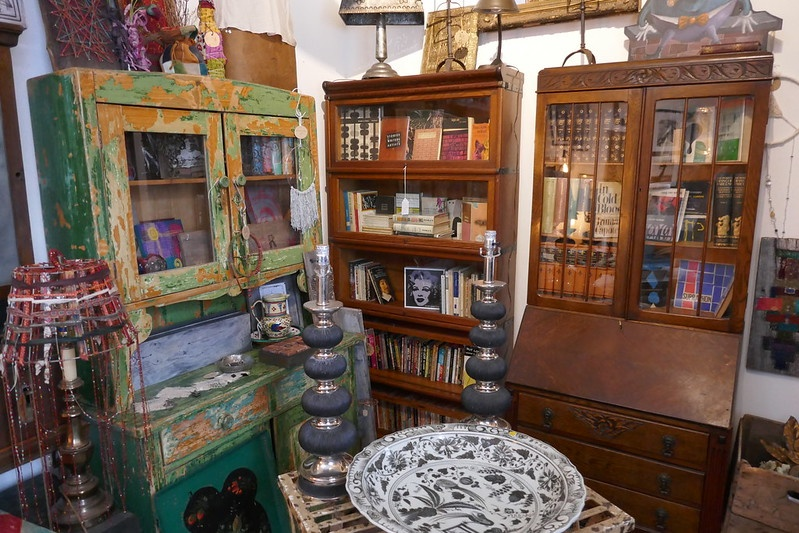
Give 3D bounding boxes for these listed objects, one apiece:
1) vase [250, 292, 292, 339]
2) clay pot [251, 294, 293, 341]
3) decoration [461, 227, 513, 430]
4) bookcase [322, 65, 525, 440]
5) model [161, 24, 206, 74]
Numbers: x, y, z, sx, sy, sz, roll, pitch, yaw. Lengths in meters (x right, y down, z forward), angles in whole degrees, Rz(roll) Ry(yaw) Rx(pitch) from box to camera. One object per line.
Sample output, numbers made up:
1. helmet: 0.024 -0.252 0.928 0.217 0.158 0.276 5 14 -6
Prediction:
1. vase: -0.746 0.306 3.139 0.250 0.236 0.176 -5 4 -10
2. clay pot: -0.748 0.303 3.144 0.245 0.235 0.177 -2 5 -4
3. decoration: 0.427 0.381 2.611 0.208 1.121 0.924 0 12 11
4. bookcase: 0.067 -0.104 3.454 1.057 2.125 0.505 -1 19 2
5. model: -1.115 -1.097 2.756 0.224 0.225 0.100 -6 13 -21
